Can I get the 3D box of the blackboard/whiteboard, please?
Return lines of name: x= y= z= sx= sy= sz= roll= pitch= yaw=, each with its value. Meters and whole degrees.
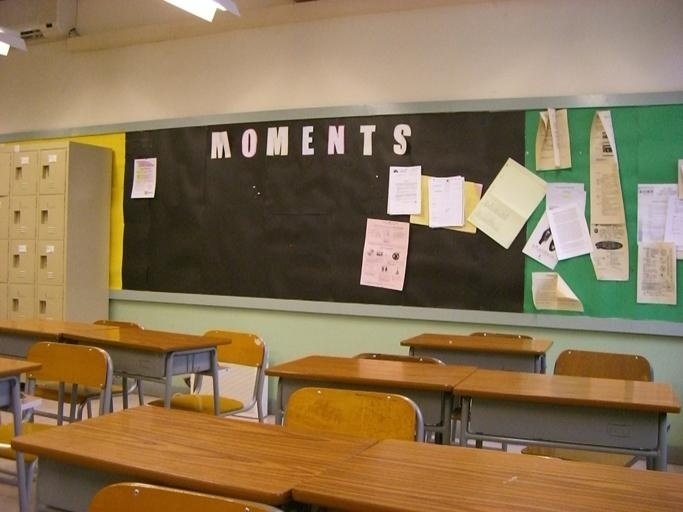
blackboard/whiteboard: x=-0.086 y=-0.375 z=5.034 sx=5.266 sy=1.933 sz=0.318 roll=-1 pitch=-7 yaw=21
